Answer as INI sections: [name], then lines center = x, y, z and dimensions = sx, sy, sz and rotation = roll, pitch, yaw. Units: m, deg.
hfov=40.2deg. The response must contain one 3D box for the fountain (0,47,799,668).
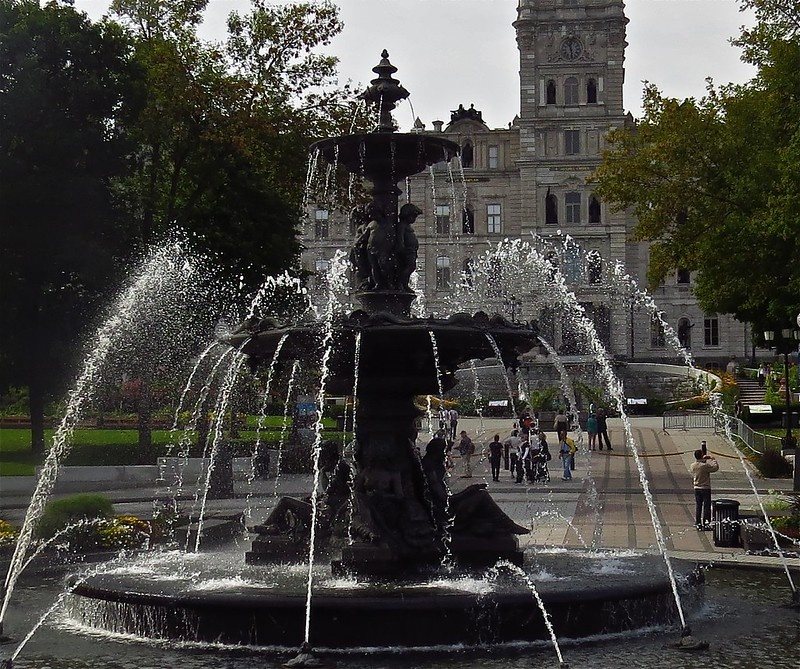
[fountain]
center = 0.222, 0.668, 17.197
dimensions = 9.116, 6.966, 9.071
rotation = 0, -8, -3
